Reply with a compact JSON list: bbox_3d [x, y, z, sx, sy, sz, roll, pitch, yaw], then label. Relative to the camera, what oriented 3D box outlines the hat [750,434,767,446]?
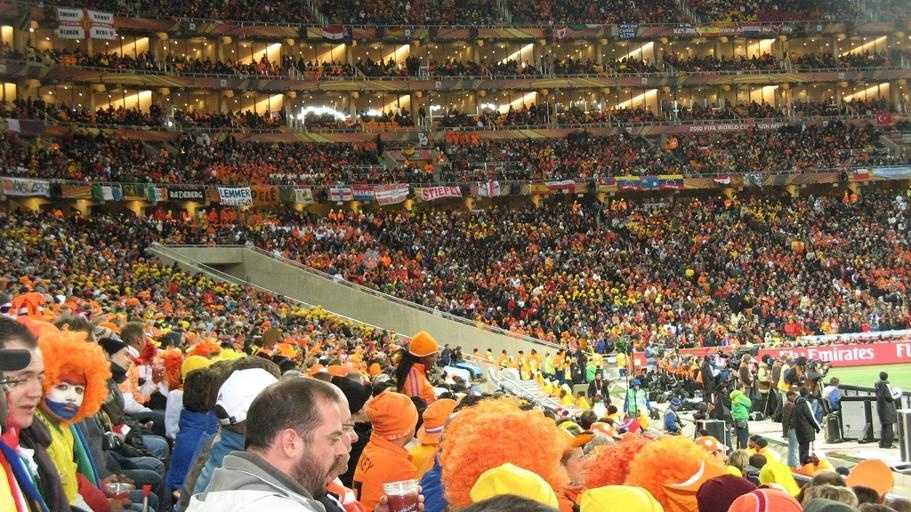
[{"bbox_3d":[15.899,9.788,63.259,0.674,0.589,0.512,21,3,25],"label":"hat"}]

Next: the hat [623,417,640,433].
[{"bbox_3d":[9.321,9.133,63.794,0.782,0.766,0.623,-15,7,-5],"label":"hat"}]

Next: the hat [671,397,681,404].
[{"bbox_3d":[12.905,8.552,70.556,0.544,0.480,1.400,1,-8,9],"label":"hat"}]
